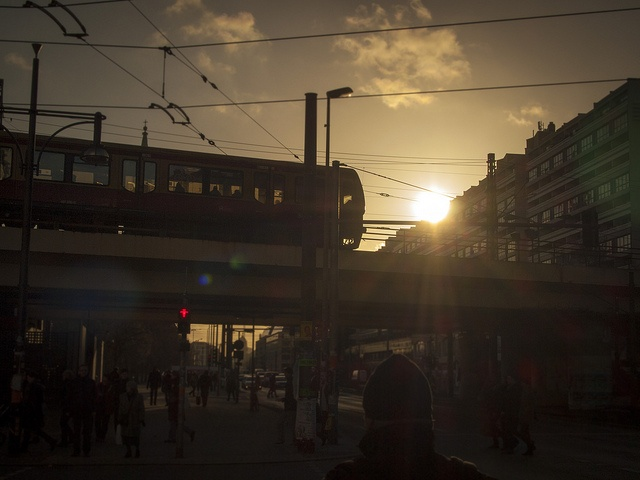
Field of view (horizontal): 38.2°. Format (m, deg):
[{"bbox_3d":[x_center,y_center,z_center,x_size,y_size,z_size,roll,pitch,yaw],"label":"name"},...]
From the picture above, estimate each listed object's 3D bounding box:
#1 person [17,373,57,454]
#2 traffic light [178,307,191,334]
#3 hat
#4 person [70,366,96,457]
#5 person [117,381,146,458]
[{"bbox_3d":[-8.895,5.348,28.808,1.103,2.440,0.873,-2,-12,11],"label":"person"},{"bbox_3d":[-4.312,2.550,29.054,0.380,0.937,0.837,2,-13,-9],"label":"traffic light"},{"bbox_3d":[1.248,2.496,15.450,0.996,1.035,1.071,1,-11,-3],"label":"hat"},{"bbox_3d":[-7.158,5.147,27.774,0.719,2.664,0.828,3,-12,-14],"label":"person"},{"bbox_3d":[-5.712,5.402,27.849,0.705,2.243,0.753,8,-14,-34],"label":"person"}]
